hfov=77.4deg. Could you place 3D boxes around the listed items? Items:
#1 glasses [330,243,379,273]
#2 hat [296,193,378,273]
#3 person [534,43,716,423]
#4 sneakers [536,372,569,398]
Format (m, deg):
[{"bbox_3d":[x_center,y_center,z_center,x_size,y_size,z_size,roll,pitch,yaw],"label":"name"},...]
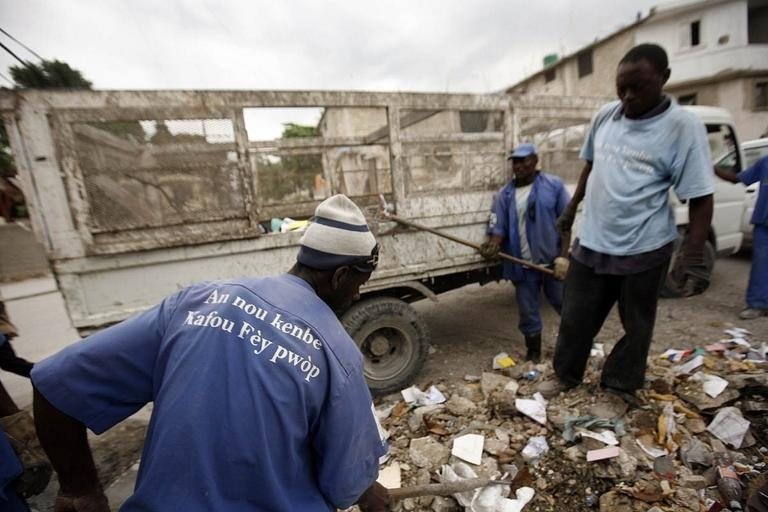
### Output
[{"bbox_3d":[-0.160,0.028,3.076,0.225,0.117,0.169,-9,19,-10],"label":"glasses"},{"bbox_3d":[-0.280,-0.168,3.101,0.523,0.462,0.395,-7,16,-22],"label":"hat"},{"bbox_3d":[2.107,-0.023,4.162,1.169,2.642,0.771,4,17,34],"label":"person"},{"bbox_3d":[1.571,1.226,4.549,0.328,0.143,0.146,-10,19,-12],"label":"sneakers"}]
